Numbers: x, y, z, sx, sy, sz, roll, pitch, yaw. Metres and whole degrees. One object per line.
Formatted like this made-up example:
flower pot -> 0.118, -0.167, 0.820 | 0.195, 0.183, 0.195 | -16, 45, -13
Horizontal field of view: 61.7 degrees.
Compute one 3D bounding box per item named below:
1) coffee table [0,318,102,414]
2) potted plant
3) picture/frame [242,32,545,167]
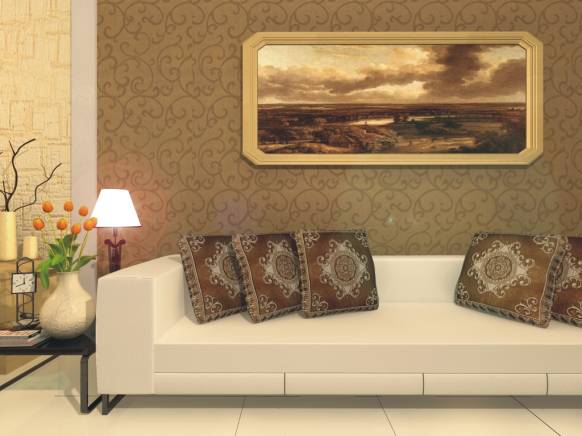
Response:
coffee table -> -1.535, 0.965, 3.125 | 0.696, 0.442, 0.419 | -1, 5, 8
potted plant -> -1.441, 0.342, 3.174 | 0.339, 0.812, 0.377 | -7, -7, 38
picture/frame -> 0.737, -0.907, 3.716 | 2.264, 1.041, 0.065 | 1, -5, 4
